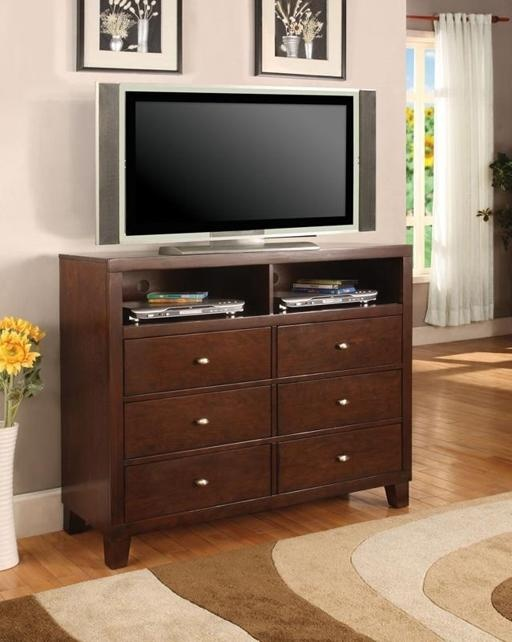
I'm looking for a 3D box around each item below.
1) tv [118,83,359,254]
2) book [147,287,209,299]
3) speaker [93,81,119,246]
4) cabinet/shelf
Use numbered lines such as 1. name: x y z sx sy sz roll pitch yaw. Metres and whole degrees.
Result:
1. tv: -0.037 -0.521 2.087 0.848 0.458 0.067 -6 16 -20
2. book: -0.249 -0.081 1.971 0.157 0.026 0.108 -1 0 15
3. speaker: -0.439 -0.468 1.857 0.083 0.477 0.026 10 13 34
4. cabinet/shelf: -0.019 0.212 2.147 1.127 0.910 0.390 -4 6 -27
